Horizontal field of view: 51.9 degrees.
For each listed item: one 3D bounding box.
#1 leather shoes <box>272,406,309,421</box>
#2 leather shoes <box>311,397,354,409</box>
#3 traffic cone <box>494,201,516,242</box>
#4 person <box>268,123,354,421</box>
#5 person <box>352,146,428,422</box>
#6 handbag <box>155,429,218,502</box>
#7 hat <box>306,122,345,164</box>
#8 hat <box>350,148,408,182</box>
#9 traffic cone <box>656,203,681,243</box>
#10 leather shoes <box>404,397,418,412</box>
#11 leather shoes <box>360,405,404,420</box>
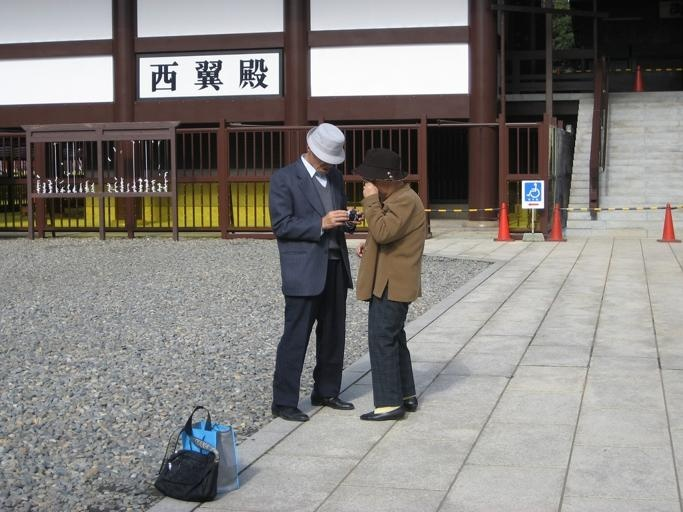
[{"bbox_3d":[-0.377,1.120,5.112,0.272,0.116,0.100,-2,-4,34],"label":"leather shoes"},{"bbox_3d":[-0.075,1.112,5.307,0.324,0.106,0.111,-1,0,23],"label":"leather shoes"},{"bbox_3d":[3.742,-0.834,16.203,0.386,0.880,1.120,-1,6,12],"label":"traffic cone"},{"bbox_3d":[-0.240,0.101,5.175,0.645,2.107,0.574,-3,6,-7],"label":"person"},{"bbox_3d":[0.360,0.189,5.080,0.510,1.919,0.395,-2,5,3],"label":"person"},{"bbox_3d":[-0.867,1.187,3.953,0.340,0.355,0.154,-1,-18,23],"label":"handbag"},{"bbox_3d":[-0.128,-0.827,5.014,0.258,0.299,0.154,-34,-20,-26],"label":"hat"},{"bbox_3d":[0.305,-0.674,5.038,0.259,0.114,0.268,4,17,14],"label":"hat"},{"bbox_3d":[7.106,-0.737,15.205,0.389,0.791,1.001,1,7,25],"label":"traffic cone"},{"bbox_3d":[0.507,1.086,5.151,0.068,0.086,0.133,2,10,4],"label":"leather shoes"},{"bbox_3d":[0.287,1.100,5.046,0.299,0.099,0.112,1,-3,5],"label":"leather shoes"}]
